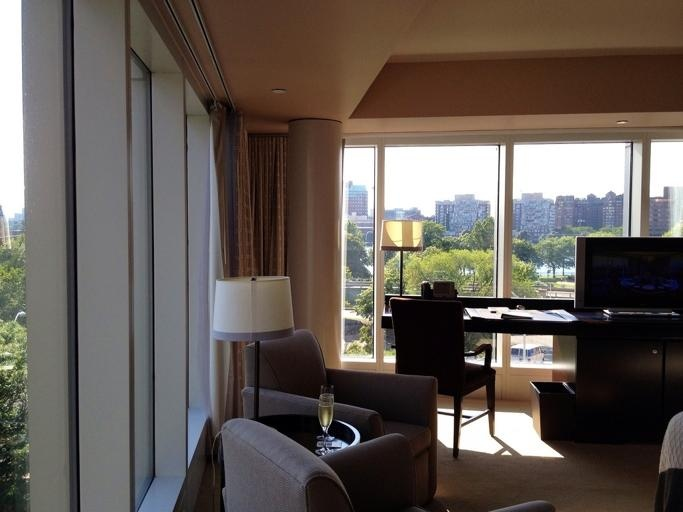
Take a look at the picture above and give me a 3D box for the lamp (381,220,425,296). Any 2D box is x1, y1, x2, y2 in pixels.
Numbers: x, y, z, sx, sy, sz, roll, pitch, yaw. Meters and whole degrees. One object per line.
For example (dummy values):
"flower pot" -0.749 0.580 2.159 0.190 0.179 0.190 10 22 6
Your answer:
"lamp" 0.550 0.020 5.376 0.361 0.725 0.483 0 7 3

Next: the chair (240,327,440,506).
"chair" 0.013 0.922 3.947 1.182 1.397 0.967 -4 -4 38

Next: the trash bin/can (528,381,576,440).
"trash bin/can" 1.756 1.181 4.859 0.307 0.457 0.584 -2 -7 12
